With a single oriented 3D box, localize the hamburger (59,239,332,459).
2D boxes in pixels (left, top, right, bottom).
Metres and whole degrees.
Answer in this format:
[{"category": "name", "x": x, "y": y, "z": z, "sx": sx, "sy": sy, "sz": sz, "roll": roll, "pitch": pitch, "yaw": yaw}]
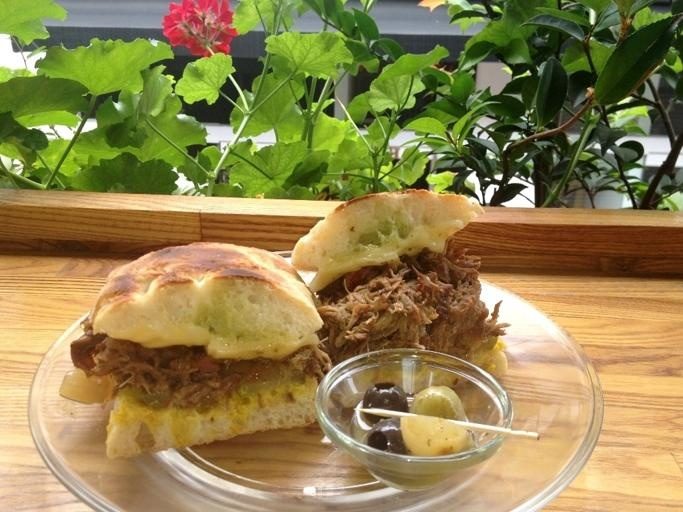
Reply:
[{"category": "hamburger", "x": -0.174, "y": 0.112, "z": 0.825, "sx": 0.352, "sy": 0.145, "sz": 0.291, "roll": -1, "pitch": 11, "yaw": -17}]
